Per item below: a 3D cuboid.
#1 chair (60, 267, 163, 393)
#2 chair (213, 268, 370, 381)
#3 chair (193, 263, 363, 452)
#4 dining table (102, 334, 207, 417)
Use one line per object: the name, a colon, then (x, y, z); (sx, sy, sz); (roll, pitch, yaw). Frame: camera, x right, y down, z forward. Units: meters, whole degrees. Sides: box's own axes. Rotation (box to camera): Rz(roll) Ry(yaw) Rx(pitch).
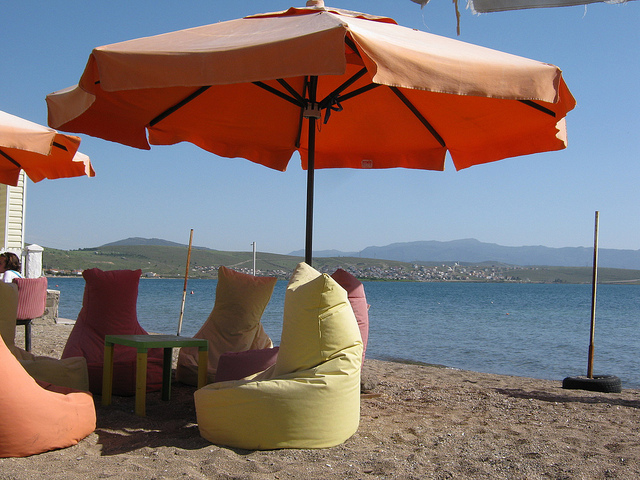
chair: (-2.423, 1.010, 6.935); (1.233, 1.391, 1.268); (-1, 2, 17)
chair: (-0.304, 0.842, 6.340); (1.223, 1.123, 1.255); (4, -12, -7)
chair: (-0.384, 1.051, 5.504); (1.447, 1.518, 1.446); (0, -6, -5)
dining table: (-1.655, 1.350, 6.031); (0.849, 0.737, 0.971); (6, -6, -40)
